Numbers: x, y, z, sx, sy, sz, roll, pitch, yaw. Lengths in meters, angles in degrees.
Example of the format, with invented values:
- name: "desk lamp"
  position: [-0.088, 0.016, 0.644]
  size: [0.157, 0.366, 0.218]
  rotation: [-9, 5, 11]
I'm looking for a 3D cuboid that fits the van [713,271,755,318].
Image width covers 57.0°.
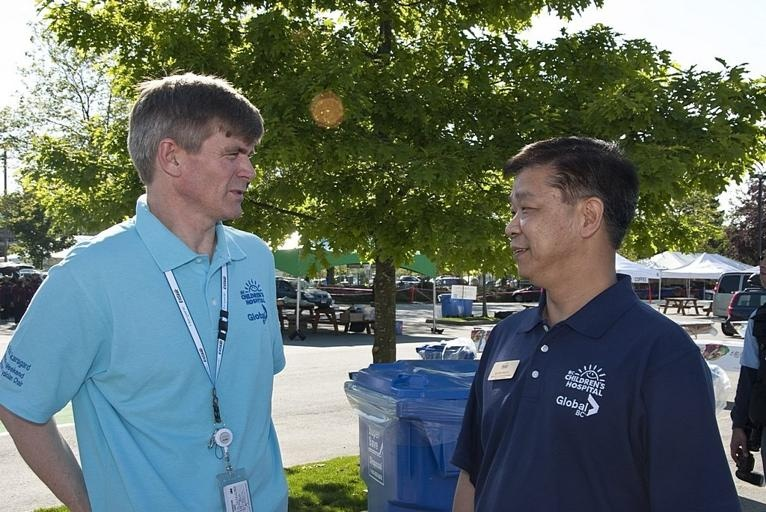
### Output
- name: "van"
  position: [16.236, 1.672, 32.443]
  size: [2.027, 1.911, 3.653]
  rotation: [-1, 3, 20]

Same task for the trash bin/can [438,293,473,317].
- name: "trash bin/can"
  position: [3.430, 2.317, 32.275]
  size: [1.237, 0.885, 0.916]
  rotation: [0, -2, -12]

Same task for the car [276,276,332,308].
- name: "car"
  position: [-3.797, 1.740, 32.473]
  size: [4.232, 1.472, 1.840]
  rotation: [-4, -4, 45]
